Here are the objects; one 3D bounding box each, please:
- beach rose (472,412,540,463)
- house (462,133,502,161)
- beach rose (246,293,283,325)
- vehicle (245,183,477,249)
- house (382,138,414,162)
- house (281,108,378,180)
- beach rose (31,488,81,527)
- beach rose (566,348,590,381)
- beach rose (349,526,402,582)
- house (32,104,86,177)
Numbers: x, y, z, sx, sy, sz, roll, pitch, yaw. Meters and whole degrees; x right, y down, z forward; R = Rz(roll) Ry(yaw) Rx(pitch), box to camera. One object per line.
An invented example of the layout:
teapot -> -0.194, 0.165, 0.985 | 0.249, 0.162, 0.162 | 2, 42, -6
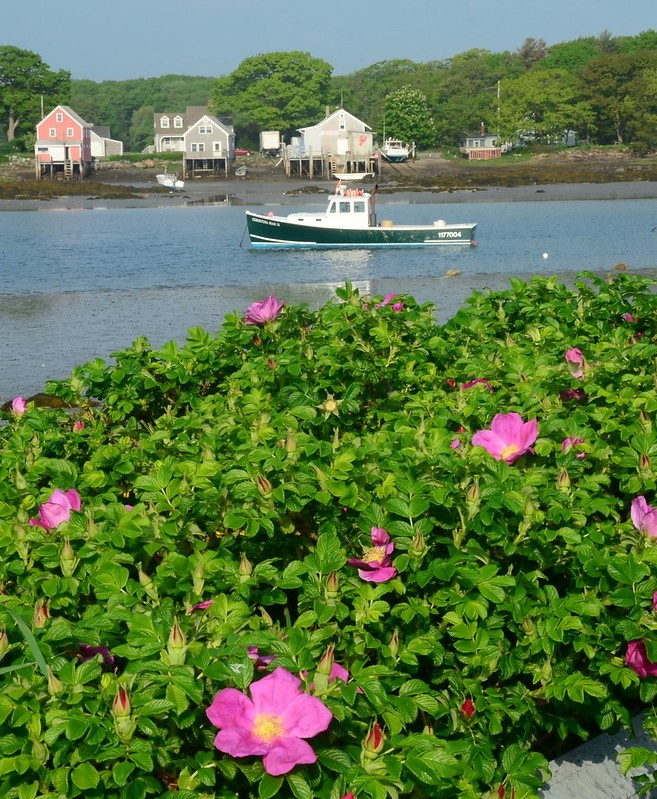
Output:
beach rose -> 0.595, 0.126, 2.987 | 0.189, 0.177, 0.089 | -13, -26, 28
house -> 19.496, -30.748, 110.893 | 4.827, 2.183, 4.692 | -8, 34, -10
beach rose -> -0.349, -0.476, 4.775 | 0.212, 0.185, 0.322 | 1, 12, -3
vehicle -> 0.999, -7.818, 39.505 | 9.666, 2.623, 1.644 | 4, 12, 13
house -> 8.278, -30.458, 109.980 | 2.171, 1.989, 5.720 | 1, 19, 0
house -> 0.237, -28.756, 101.597 | 11.015, 7.569, 3.794 | 8, 14, 27
beach rose -> -0.818, 0.331, 2.714 | 0.131, 0.066, 0.132 | -24, 32, 49
beach rose -> 1.142, -0.161, 4.099 | 0.069, 0.136, 0.103 | -11, -16, -7
beach rose -> 0.120, 0.442, 2.490 | 0.137, 0.170, 0.149 | 2, 12, 2
house -> -30.854, -32.179, 107.497 | 7.324, 5.134, 3.878 | 4, 23, 7
